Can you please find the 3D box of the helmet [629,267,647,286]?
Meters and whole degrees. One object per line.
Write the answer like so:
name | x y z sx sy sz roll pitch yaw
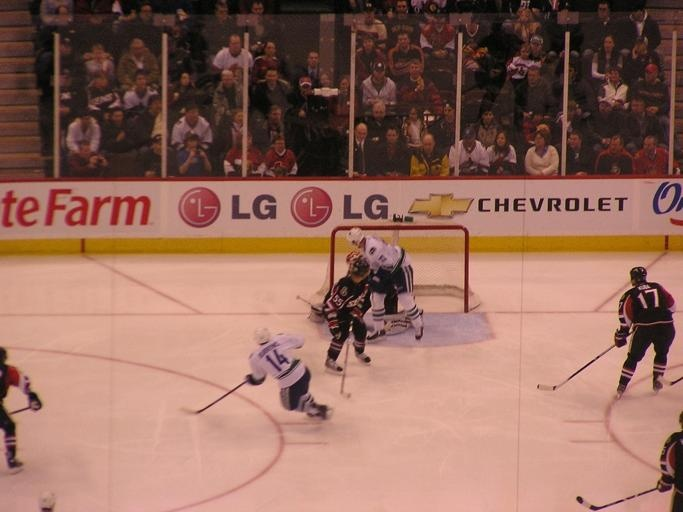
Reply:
helmet | 1.864 0.127 5.664 0.088 0.116 0.116 1 9 16

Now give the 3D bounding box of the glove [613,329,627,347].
glove | 1.745 0.517 5.678 0.072 0.094 0.099 -5 -12 30

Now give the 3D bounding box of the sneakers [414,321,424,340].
sneakers | 0.488 0.468 5.614 0.040 0.119 0.084 4 -2 32

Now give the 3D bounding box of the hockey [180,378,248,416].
hockey | -0.763 0.874 5.568 0.504 0.081 0.042 -24 -5 12

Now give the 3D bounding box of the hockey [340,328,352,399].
hockey | 0.030 0.697 5.573 0.067 0.357 0.064 1 8 1

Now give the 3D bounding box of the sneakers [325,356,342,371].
sneakers | -0.045 0.672 5.632 0.116 0.114 0.057 3 16 8

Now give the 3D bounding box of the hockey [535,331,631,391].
hockey | 1.527 0.672 5.620 0.660 0.096 0.052 -29 -8 6

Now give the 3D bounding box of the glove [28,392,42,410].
glove | -1.899 0.907 5.606 0.069 0.117 0.046 -14 -4 -24

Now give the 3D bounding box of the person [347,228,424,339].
person | 0.235 0.179 5.711 0.545 0.725 0.302 -6 4 15

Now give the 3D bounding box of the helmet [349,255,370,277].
helmet | 0.115 0.065 5.586 0.094 0.123 0.115 2 -2 3

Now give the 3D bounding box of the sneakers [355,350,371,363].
sneakers | 0.140 0.631 5.571 0.110 0.036 0.076 31 -13 21

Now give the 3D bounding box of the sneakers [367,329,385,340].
sneakers | 0.216 0.493 5.606 0.137 0.056 0.046 -15 12 -9
